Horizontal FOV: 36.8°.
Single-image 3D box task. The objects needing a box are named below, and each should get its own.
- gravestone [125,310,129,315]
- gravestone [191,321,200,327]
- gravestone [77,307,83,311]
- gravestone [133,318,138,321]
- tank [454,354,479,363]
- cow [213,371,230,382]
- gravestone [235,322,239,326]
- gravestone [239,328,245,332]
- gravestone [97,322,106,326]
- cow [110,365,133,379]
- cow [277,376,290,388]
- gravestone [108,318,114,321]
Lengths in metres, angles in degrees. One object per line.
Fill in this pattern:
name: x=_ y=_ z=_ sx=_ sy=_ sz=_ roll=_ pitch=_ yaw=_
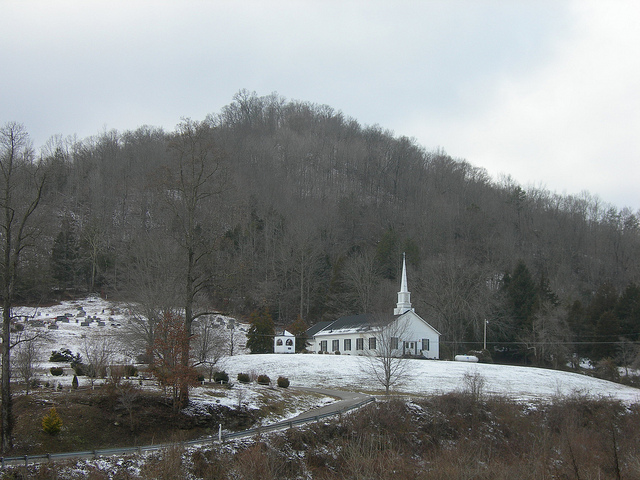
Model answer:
gravestone: x=-20.482 y=7.500 z=101.764 sx=0.263 sy=0.583 sz=2.076 roll=5 pitch=-11 yaw=-16
gravestone: x=-13.495 y=9.002 z=104.712 sx=0.842 sy=0.503 sz=0.869 roll=10 pitch=-9 yaw=-34
gravestone: x=-31.950 y=9.027 z=127.708 sx=0.559 sy=0.521 sz=0.623 roll=0 pitch=-1 yaw=-16
gravestone: x=-19.320 y=8.235 z=100.480 sx=0.230 sy=0.312 sz=1.928 roll=5 pitch=-11 yaw=-18
tank: x=18.213 y=14.756 z=120.214 sx=2.679 sy=1.245 sz=5.582 roll=2 pitch=-11 yaw=7
cow: x=-10.395 y=14.336 z=101.092 sx=1.626 sy=1.113 sz=1.005 roll=9 pitch=-11 yaw=-29
gravestone: x=-11.280 y=11.330 z=130.920 sx=0.199 sy=0.511 sz=1.042 roll=1 pitch=-10 yaw=11
gravestone: x=-10.542 y=11.924 z=129.421 sx=0.678 sy=0.560 sz=1.992 roll=4 pitch=-11 yaw=-6
gravestone: x=-27.477 y=10.464 z=120.870 sx=0.866 sy=0.474 sz=0.760 roll=6 pitch=-10 yaw=-18
cow: x=-19.637 y=12.637 z=94.137 sx=1.404 sy=0.898 sz=1.377 roll=0 pitch=-2 yaw=-44
cow: x=-4.007 y=15.205 z=103.020 sx=1.163 sy=1.035 sz=1.393 roll=4 pitch=-10 yaw=-5
gravestone: x=-26.908 y=10.092 z=123.908 sx=0.511 sy=0.473 sz=1.819 roll=5 pitch=-11 yaw=-16
